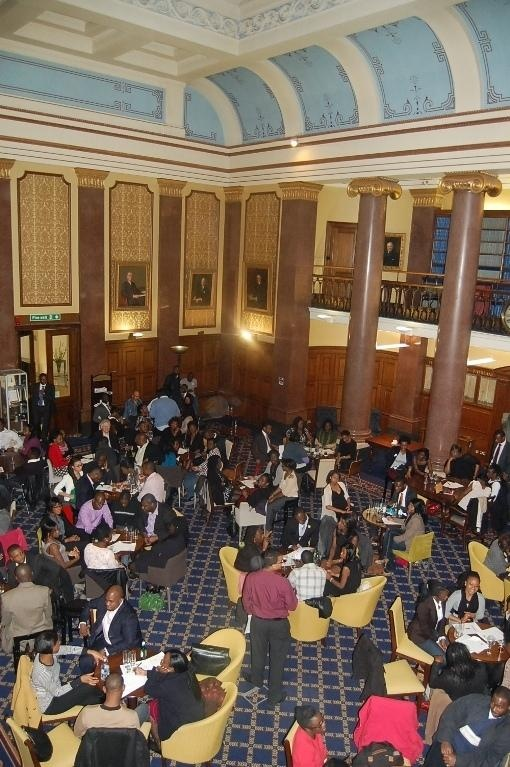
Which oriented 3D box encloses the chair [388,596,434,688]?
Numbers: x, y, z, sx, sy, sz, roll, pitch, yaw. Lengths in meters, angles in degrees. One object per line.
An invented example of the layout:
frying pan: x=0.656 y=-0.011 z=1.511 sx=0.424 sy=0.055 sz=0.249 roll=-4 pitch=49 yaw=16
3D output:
chair: x=1.461 y=2.378 z=4.729 sx=0.375 sy=0.699 sz=0.371 roll=5 pitch=18 yaw=27

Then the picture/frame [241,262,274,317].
picture/frame: x=0.045 y=-2.608 z=13.779 sx=1.104 sy=1.425 sz=0.085 roll=16 pitch=21 yaw=38

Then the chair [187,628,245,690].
chair: x=-0.250 y=2.197 z=4.091 sx=0.284 sy=0.383 sz=0.336 roll=14 pitch=-11 yaw=-10

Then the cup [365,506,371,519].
cup: x=1.594 y=1.831 z=7.206 sx=0.103 sy=0.113 sz=0.108 roll=-1 pitch=12 yaw=0

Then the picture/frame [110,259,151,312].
picture/frame: x=-3.180 y=-2.504 z=12.730 sx=0.090 sy=1.334 sz=1.155 roll=10 pitch=16 yaw=43

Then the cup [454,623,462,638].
cup: x=1.785 y=2.171 z=4.481 sx=0.071 sy=0.122 sz=0.070 roll=0 pitch=9 yaw=0

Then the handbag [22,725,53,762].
handbag: x=-1.253 y=2.083 z=2.952 sx=0.061 sy=0.231 sz=0.174 roll=-40 pitch=1 yaw=-43

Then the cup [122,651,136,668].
cup: x=-0.942 y=2.056 z=3.808 sx=0.069 sy=0.120 sz=0.071 roll=2 pitch=16 yaw=-1

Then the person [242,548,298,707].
person: x=0.086 y=2.146 z=4.442 sx=0.498 sy=1.459 sz=0.330 roll=8 pitch=12 yaw=43

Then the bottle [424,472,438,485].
bottle: x=2.947 y=1.574 z=8.511 sx=0.127 sy=0.181 sz=0.432 roll=0 pitch=-4 yaw=16

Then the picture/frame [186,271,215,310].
picture/frame: x=-1.588 y=-2.640 z=14.180 sx=0.081 sy=1.146 sz=0.955 roll=12 pitch=17 yaw=41

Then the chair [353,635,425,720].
chair: x=1.081 y=2.360 z=4.112 sx=0.481 sy=0.667 sz=0.441 roll=-4 pitch=11 yaw=5

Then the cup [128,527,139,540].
cup: x=-1.421 y=1.732 z=5.904 sx=0.080 sy=0.045 sz=0.116 roll=0 pitch=16 yaw=-13
